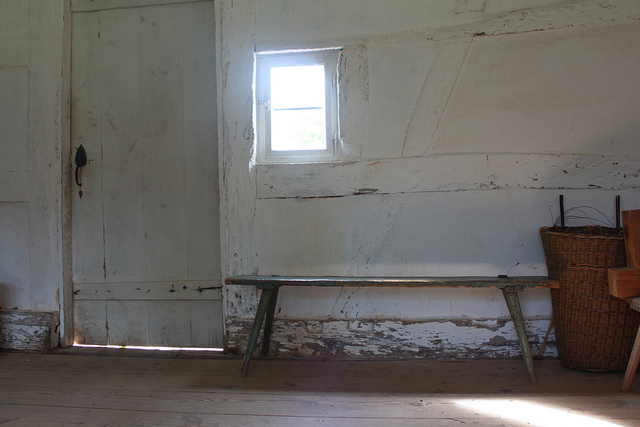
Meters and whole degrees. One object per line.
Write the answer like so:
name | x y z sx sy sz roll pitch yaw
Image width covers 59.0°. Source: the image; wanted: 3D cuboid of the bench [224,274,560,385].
bench | 0.538 0.902 4.590 2.566 0.823 0.388 0 -2 5

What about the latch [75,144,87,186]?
latch | -2.175 -0.444 5.157 0.100 0.370 0.091 2 -3 -21
